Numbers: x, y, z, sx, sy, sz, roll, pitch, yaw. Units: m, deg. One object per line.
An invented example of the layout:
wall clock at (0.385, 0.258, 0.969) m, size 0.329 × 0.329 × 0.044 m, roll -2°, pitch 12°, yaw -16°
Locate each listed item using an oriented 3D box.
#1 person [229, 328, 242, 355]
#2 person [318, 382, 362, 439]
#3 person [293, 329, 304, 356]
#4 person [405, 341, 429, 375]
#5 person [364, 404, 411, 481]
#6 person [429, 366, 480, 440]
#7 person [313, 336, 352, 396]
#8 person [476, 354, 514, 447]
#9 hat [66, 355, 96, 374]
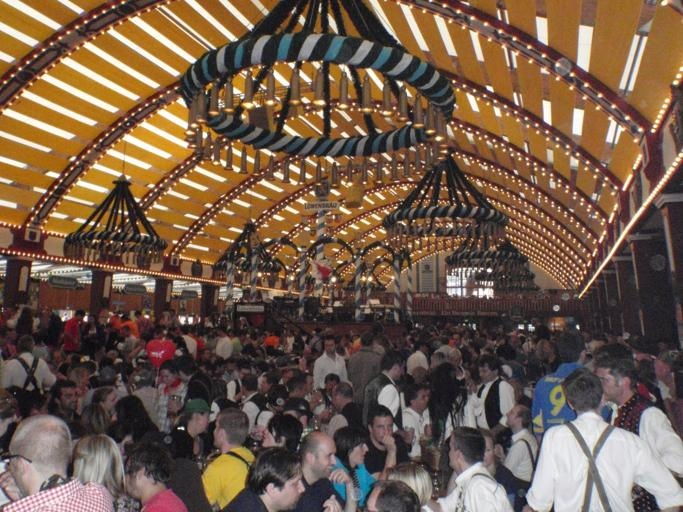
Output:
person at (-2.984, 2.408, 15.986) m, size 0.293 × 0.966 × 0.424 m, roll 3°, pitch 3°, yaw 27°
person at (0.060, 2.128, 7.981) m, size 0.392 × 0.684 × 0.828 m, roll -11°, pitch -13°, yaw 25°
person at (-1.363, 2.727, 18.113) m, size 0.414 × 0.895 × 1.404 m, roll 1°, pitch -15°, yaw -4°
person at (1.617, 2.172, 12.071) m, size 0.394 × 0.647 × 0.731 m, roll 6°, pitch -8°, yaw -24°
person at (0.549, 2.225, 6.823) m, size 0.555 × 0.877 × 0.497 m, roll -15°, pitch 4°, yaw -32°
person at (1.564, 1.923, 8.104) m, size 0.879 × 1.024 × 0.601 m, roll -8°, pitch 18°, yaw 2°
person at (-0.174, 2.202, 11.412) m, size 0.677 × 1.138 × 0.578 m, roll 2°, pitch -9°, yaw -20°
person at (2.185, 2.086, 8.101) m, size 0.421 × 1.444 × 0.628 m, roll 7°, pitch -28°, yaw 0°
hat at (-4.701, 1.945, 10.231) m, size 0.515 × 0.227 × 0.611 m, roll -4°, pitch -23°, yaw -17°
